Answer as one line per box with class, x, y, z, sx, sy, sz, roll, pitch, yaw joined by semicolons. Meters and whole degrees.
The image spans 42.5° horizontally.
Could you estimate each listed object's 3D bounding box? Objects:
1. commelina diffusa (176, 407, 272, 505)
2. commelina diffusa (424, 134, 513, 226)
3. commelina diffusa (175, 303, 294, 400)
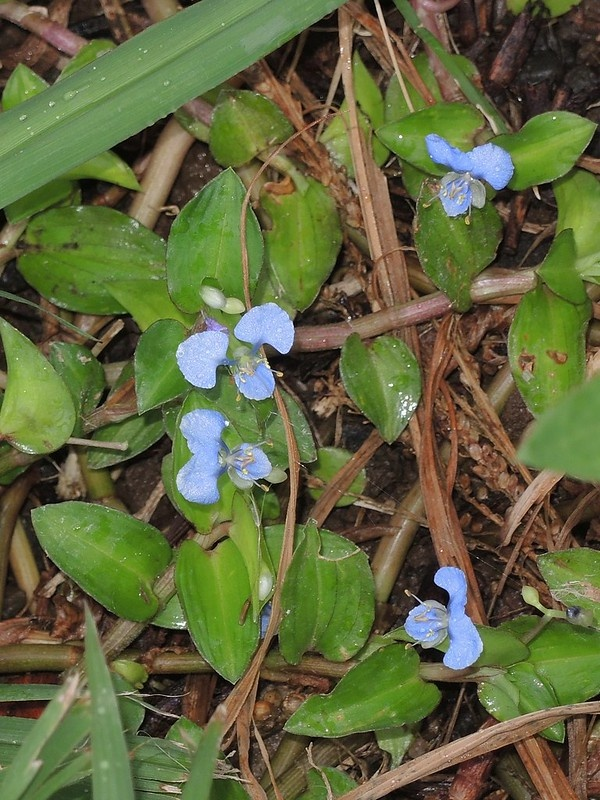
commelina diffusa;-0.151;0.094;1.308;0.150;0.130;0.126;-27;60;-11
commelina diffusa;0.321;-0.423;1.431;0.162;0.146;0.053;15;44;10
commelina diffusa;-0.108;-0.082;1.294;0.188;0.054;0.172;-27;105;-4
